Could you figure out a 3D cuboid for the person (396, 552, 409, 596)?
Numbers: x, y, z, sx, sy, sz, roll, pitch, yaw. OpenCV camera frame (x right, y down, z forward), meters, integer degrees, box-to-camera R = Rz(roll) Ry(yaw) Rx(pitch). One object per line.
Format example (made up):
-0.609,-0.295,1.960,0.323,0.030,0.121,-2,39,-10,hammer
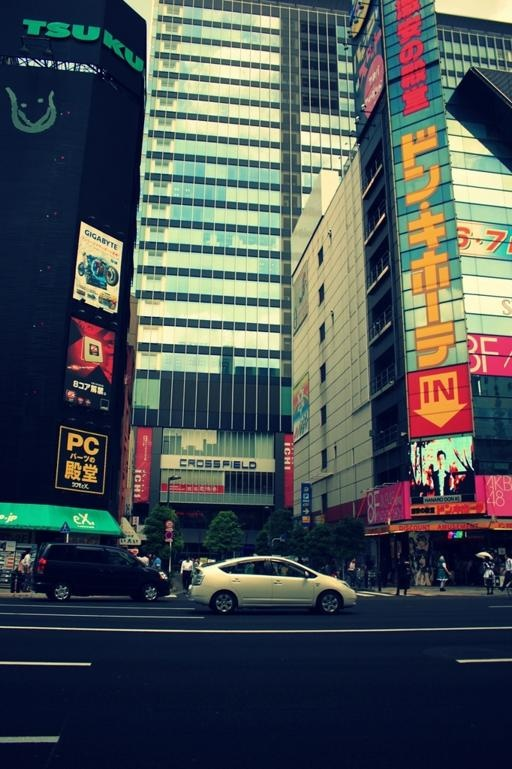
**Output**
6.798,8.789,29.453,0.525,1.695,2.848,-2,-15,11,person

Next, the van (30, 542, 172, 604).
-5.240,6.124,21.619,3.756,1.777,2.120,2,-13,-17,van
